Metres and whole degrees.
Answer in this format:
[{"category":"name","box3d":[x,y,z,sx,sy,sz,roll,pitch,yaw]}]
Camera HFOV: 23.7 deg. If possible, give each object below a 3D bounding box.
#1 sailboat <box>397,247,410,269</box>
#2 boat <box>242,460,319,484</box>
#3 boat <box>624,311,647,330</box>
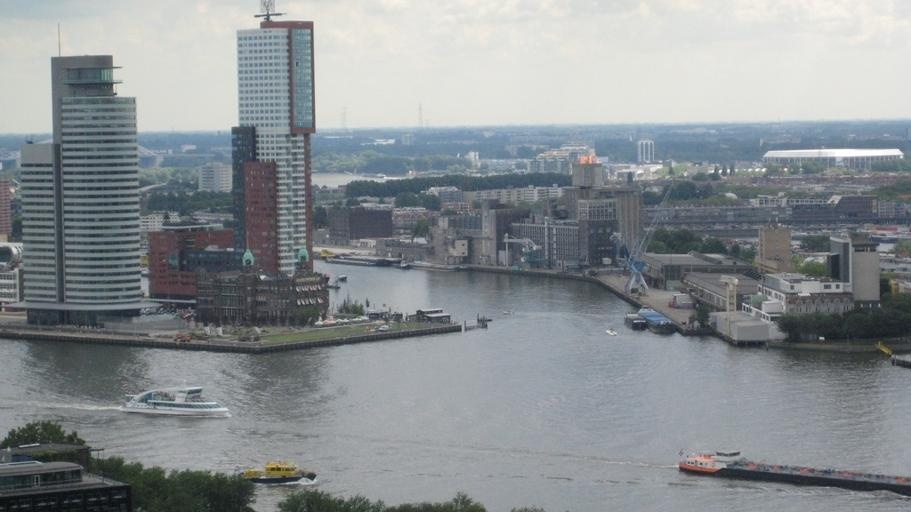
[{"category":"sailboat","box3d":[-3.133,0.240,130.142,0.600,0.779,1.545,0,-2,-9]},{"category":"boat","box3d":[-7.106,8.661,88.484,3.562,0.961,0.996,-1,8,-2]},{"category":"boat","box3d":[8.854,3.124,106.979,0.972,0.558,2.683,-1,3,1]}]
